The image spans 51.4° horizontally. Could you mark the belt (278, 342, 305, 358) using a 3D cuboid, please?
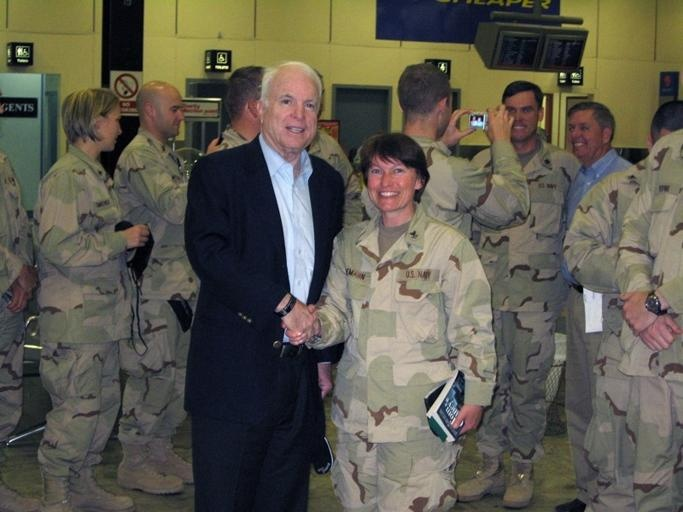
[{"bbox_3d":[-0.225,0.414,3.154,0.087,0.038,0.060,1,-1,-43],"label":"belt"}]

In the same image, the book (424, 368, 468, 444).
[{"bbox_3d":[0.457,0.634,3.019,0.081,0.257,0.256,13,40,38],"label":"book"}]

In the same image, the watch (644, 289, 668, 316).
[{"bbox_3d":[1.430,0.221,3.234,0.085,0.066,0.113,30,-2,42],"label":"watch"}]

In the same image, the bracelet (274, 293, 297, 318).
[{"bbox_3d":[-0.239,0.210,3.005,0.098,0.041,0.082,-42,-3,-32],"label":"bracelet"}]
